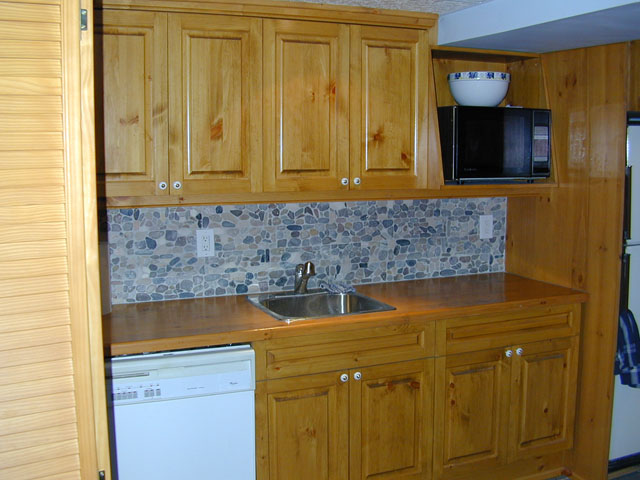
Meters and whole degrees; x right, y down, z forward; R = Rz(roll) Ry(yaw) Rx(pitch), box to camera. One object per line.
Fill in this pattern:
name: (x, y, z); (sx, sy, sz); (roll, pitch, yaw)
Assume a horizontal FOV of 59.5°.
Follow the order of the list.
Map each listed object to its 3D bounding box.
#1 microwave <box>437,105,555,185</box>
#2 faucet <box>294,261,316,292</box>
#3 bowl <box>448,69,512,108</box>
microwave: (1.039, -0.700, 3.322); (0.562, 0.633, 0.352); (0, 15, 9)
faucet: (-0.087, 0.207, 3.115); (0.111, 0.181, 0.072); (0, 12, -1)
bowl: (0.921, -0.858, 3.235); (0.365, 0.187, 0.347); (0, 11, 0)
